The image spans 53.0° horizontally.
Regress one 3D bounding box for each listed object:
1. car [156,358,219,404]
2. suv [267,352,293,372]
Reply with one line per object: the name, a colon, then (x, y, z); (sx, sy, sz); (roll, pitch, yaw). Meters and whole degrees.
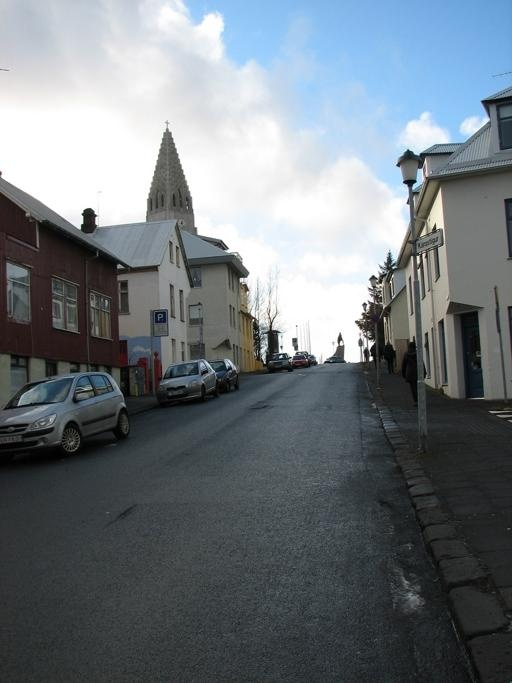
car: (-3.010, 1.811, 23.987); (1.493, 1.366, 2.777); (-4, -6, 10)
suv: (2.449, 2.218, 53.644); (2.202, 1.937, 1.576); (-2, -5, -8)
